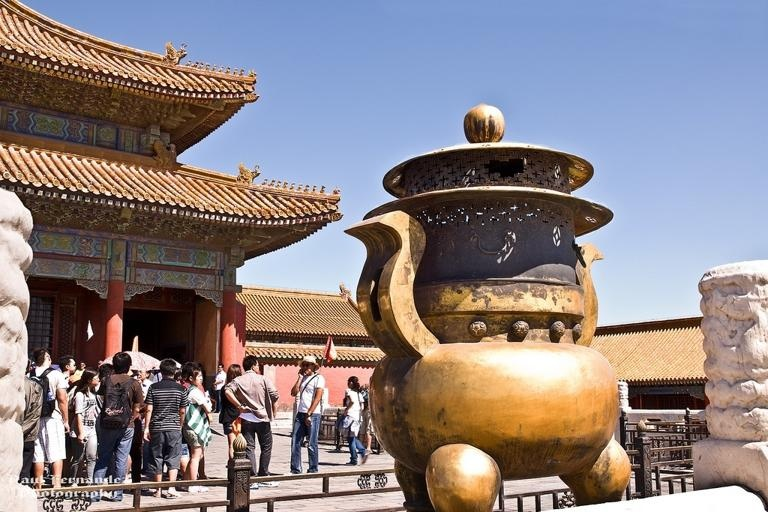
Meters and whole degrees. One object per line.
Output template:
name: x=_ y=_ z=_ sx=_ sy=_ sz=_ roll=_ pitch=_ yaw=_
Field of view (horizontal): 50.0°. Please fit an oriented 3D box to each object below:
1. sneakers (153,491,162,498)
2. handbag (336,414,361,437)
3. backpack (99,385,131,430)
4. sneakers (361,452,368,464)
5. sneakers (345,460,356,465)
sneakers: x=-2.900 y=3.055 z=10.523 sx=0.069 sy=0.112 sz=0.116 roll=8 pitch=-11 yaw=-31
handbag: x=-0.545 y=2.766 z=13.585 sx=0.489 sy=0.441 sz=0.315 roll=4 pitch=-43 yaw=-1
backpack: x=-3.256 y=1.790 z=9.951 sx=0.383 sy=0.533 sz=0.305 roll=3 pitch=-1 yaw=-18
sneakers: x=-0.312 y=3.259 z=13.214 sx=0.114 sy=0.142 sz=0.360 roll=3 pitch=-35 yaw=-3
sneakers: x=-0.539 y=3.374 z=13.424 sx=0.060 sy=0.074 sz=0.176 roll=8 pitch=-19 yaw=-36
